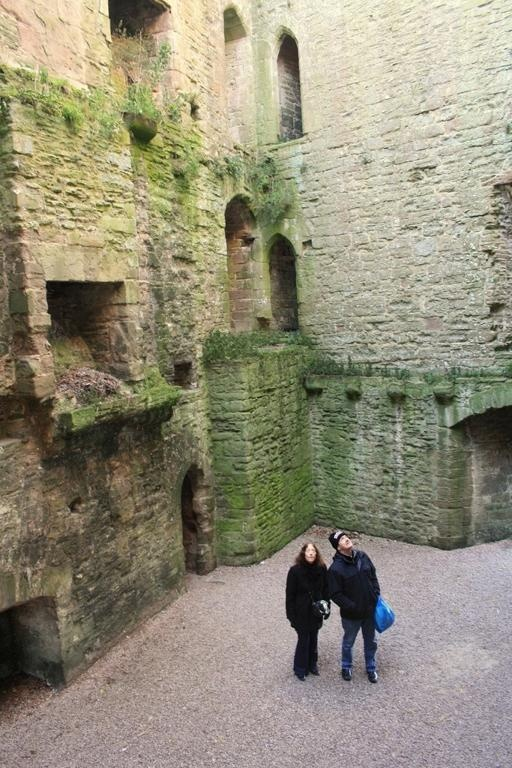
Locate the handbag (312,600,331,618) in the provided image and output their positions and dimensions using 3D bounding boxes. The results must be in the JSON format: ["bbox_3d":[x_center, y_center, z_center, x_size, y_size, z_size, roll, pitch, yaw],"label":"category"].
[{"bbox_3d":[0.489,1.697,3.928,0.100,0.138,0.137,17,55,26],"label":"handbag"}]

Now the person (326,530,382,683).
[{"bbox_3d":[0.792,1.800,4.141,0.377,1.328,0.516,-1,1,11],"label":"person"}]

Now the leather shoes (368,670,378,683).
[{"bbox_3d":[0.975,2.403,4.307,0.064,0.075,0.111,4,10,2],"label":"leather shoes"}]
